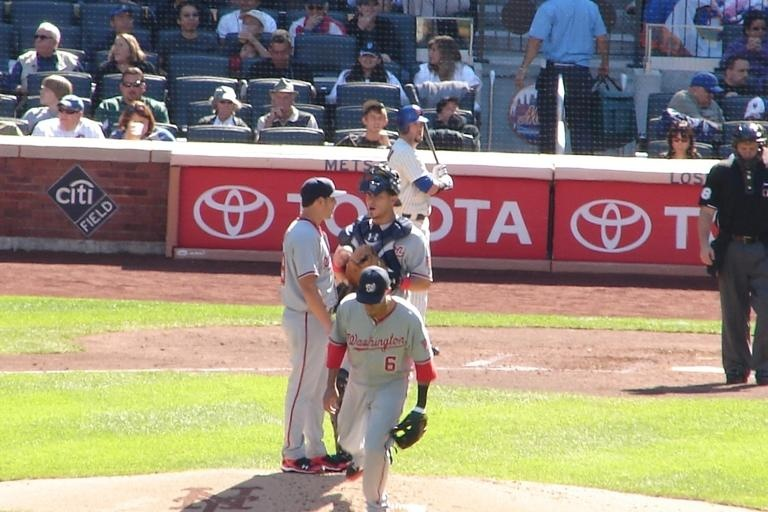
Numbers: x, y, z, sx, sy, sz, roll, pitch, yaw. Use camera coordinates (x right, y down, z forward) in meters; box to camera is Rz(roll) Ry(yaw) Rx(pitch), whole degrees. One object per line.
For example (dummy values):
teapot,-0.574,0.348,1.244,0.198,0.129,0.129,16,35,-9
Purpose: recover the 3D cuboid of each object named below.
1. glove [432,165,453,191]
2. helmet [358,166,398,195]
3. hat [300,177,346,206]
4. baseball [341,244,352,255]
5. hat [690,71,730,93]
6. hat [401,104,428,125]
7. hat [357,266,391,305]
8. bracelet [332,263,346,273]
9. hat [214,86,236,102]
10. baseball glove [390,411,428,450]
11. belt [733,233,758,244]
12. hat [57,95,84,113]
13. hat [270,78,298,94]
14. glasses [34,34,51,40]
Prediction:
glove,0.828,-1.073,24.752,0.302,0.388,0.124,15,35,40
helmet,-0.030,-0.945,22.461,0.472,0.346,0.368,25,-24,-26
hat,-0.798,-0.862,22.306,0.517,0.259,0.358,-9,15,-6
baseball,-0.487,-0.068,22.459,0.117,0.108,0.116,12,21,32
hat,5.878,-3.151,30.941,0.527,0.281,0.353,3,20,-9
hat,0.423,-1.985,24.258,0.376,0.189,0.250,-10,20,-16
hat,-0.171,0.356,21.449,0.435,0.325,0.621,10,30,6
bracelet,-0.601,0.158,22.438,0.135,0.119,0.130,5,11,12
hat,-2.828,-2.852,30.375,0.410,0.276,0.410,0,8,-4
baseball glove,0.302,2.170,21.597,0.387,0.522,0.180,44,4,-22
belt,5.223,-0.235,24.648,0.330,0.099,0.035,1,8,9
hat,-5.546,-2.681,30.179,0.423,0.295,0.484,-1,8,-11
hat,-1.797,-3.013,30.500,0.370,0.169,0.470,2,-6,2
glasses,-6.276,-3.985,31.255,0.293,0.109,0.078,3,9,22
